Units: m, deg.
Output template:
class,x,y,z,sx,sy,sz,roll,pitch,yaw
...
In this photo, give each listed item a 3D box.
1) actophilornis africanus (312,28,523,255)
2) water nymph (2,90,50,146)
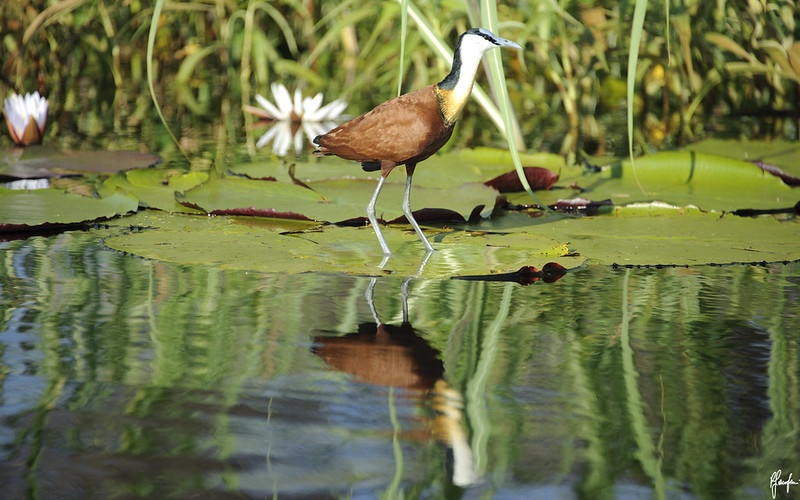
class,x,y,z,sx,sy,sz,roll,pitch,yaw
actophilornis africanus,0.061,-0.561,4.343,0.971,1.115,0.436,1,15,-3
water nymph,-2.448,-0.859,5.629,0.252,0.355,0.292,-4,15,-20
